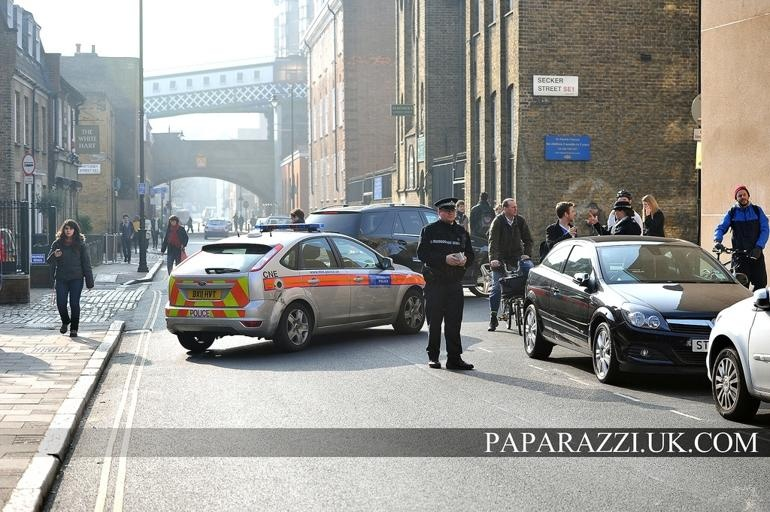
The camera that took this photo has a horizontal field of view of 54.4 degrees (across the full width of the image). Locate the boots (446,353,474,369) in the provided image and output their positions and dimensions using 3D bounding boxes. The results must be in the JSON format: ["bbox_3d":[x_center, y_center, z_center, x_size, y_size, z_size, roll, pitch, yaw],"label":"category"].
[{"bbox_3d":[1.055,1.544,10.981,0.454,0.247,0.168,1,0,-4],"label":"boots"}]

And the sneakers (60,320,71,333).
[{"bbox_3d":[-6.122,1.347,14.367,0.127,0.140,0.327,2,25,-4],"label":"sneakers"}]

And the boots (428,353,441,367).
[{"bbox_3d":[0.732,1.521,11.099,0.179,0.218,0.291,0,3,4],"label":"boots"}]

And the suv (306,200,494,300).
[{"bbox_3d":[0.394,-0.154,19.455,4.648,1.886,2.155,0,1,-28],"label":"suv"}]

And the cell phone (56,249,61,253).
[{"bbox_3d":[-6.292,-0.103,14.429,0.073,0.077,0.027,-1,-3,-4],"label":"cell phone"}]

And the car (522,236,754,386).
[{"bbox_3d":[3.346,0.618,10.731,1.451,1.233,3.024,1,-3,-13],"label":"car"}]

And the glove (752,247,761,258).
[{"bbox_3d":[6.979,-0.069,14.095,0.130,0.195,0.051,3,0,-1],"label":"glove"}]

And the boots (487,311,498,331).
[{"bbox_3d":[2.102,1.259,14.608,0.191,0.335,0.406,0,3,8],"label":"boots"}]

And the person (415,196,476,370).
[{"bbox_3d":[0.900,0.388,11.125,0.802,2.474,0.659,0,3,7],"label":"person"}]
